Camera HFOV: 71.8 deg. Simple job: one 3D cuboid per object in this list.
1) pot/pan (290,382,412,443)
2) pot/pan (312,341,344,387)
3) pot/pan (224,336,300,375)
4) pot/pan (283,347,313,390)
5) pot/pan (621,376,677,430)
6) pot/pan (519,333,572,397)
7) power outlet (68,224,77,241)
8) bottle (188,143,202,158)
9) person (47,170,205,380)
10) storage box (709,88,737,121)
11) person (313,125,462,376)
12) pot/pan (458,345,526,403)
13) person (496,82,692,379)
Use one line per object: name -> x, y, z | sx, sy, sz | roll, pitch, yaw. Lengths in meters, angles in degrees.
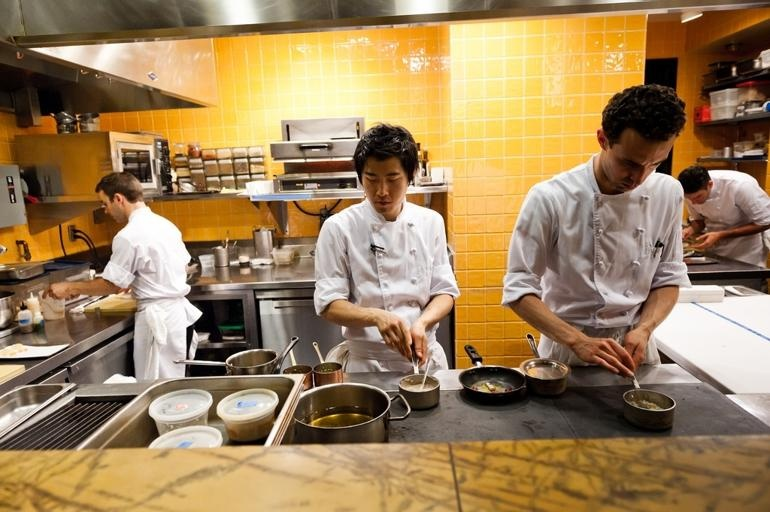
pot/pan -> -0.060, 0.532, 1.778 | 0.425, 0.107, 0.237 | 4, 15, -9
pot/pan -> -0.249, 0.434, 2.123 | 0.111, 0.082, 0.267 | -6, 15, -17
pot/pan -> -0.446, 0.418, 2.103 | 0.315, 0.108, 0.161 | -12, 17, -18
pot/pan -> -0.337, 0.450, 2.091 | 0.085, 0.066, 0.193 | -5, 13, -10
pot/pan -> 0.905, 0.532, 1.833 | 0.157, 0.119, 0.141 | -3, -3, 26
pot/pan -> 0.609, 0.428, 2.112 | 0.190, 0.113, 0.302 | -3, 21, -2
power outlet -> -2.580, -0.191, 4.381 | 0.026, 0.101, 0.102 | 2, 7, 28
bottle -> -1.624, -0.900, 4.533 | 0.128, 0.123, 0.128 | 0, 1, 1
person -> -1.666, 0.136, 3.536 | 0.873, 1.420, 0.465 | -1, -3, -30
storage box -> 3.475, -1.555, 5.499 | 0.117, 0.353, 0.359 | -2, -3, -3
person -> -0.025, -0.059, 2.480 | 0.567, 1.037, 0.555 | -3, -3, 22
pot/pan -> 0.393, 0.461, 2.113 | 0.237, 0.055, 0.408 | -3, 14, -8
person -> 0.899, -0.069, 2.275 | 0.725, 1.105, 0.692 | -4, -3, 28
